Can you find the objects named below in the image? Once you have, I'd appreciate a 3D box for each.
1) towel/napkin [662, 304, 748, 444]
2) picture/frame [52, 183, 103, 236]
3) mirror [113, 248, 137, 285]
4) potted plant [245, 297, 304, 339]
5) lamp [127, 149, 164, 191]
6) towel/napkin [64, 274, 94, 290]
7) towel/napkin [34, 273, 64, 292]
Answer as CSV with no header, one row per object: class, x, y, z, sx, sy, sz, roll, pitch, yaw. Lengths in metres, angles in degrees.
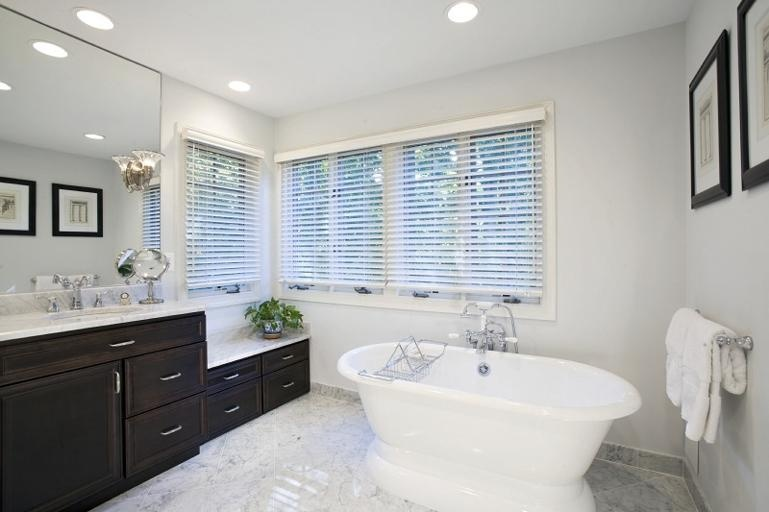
towel/napkin,2.013,0.735,3.049,0.317,0.667,0.564,-1,12,0
picture/frame,-2.458,-0.376,3.785,0.035,0.509,0.421,3,4,40
mirror,-2.159,0.080,4.014,0.081,0.242,0.193,25,47,8
potted plant,-1.089,0.601,4.790,0.427,0.304,0.449,1,-1,42
lamp,-2.088,-0.723,4.192,0.310,0.341,0.303,5,-5,-40
towel/napkin,-2.424,0.195,3.796,0.096,0.129,0.187,2,0,39
towel/napkin,-2.593,0.202,3.660,0.176,0.132,0.035,-11,16,-38
